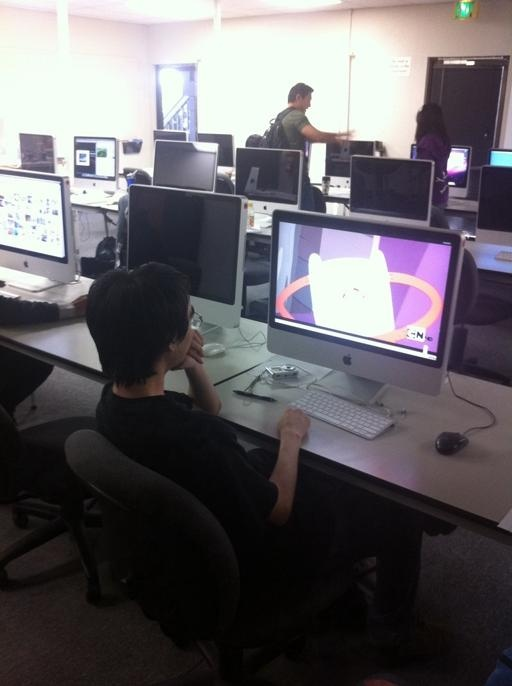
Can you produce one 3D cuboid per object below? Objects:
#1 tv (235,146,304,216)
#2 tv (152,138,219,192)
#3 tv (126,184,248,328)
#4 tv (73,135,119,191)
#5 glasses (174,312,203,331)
[{"bbox_3d":[0.063,-1.247,3.968,0.659,0.471,0.120,16,21,35],"label":"tv"},{"bbox_3d":[-0.559,-1.380,3.988,0.684,0.338,0.220,19,24,39],"label":"tv"},{"bbox_3d":[-0.240,-0.305,1.781,0.396,0.457,0.206,8,19,14],"label":"tv"},{"bbox_3d":[-1.636,-1.833,5.263,0.566,0.542,0.104,10,13,25],"label":"tv"},{"bbox_3d":[-0.229,-0.090,1.766,0.073,0.029,0.075,-2,11,-35],"label":"glasses"}]
